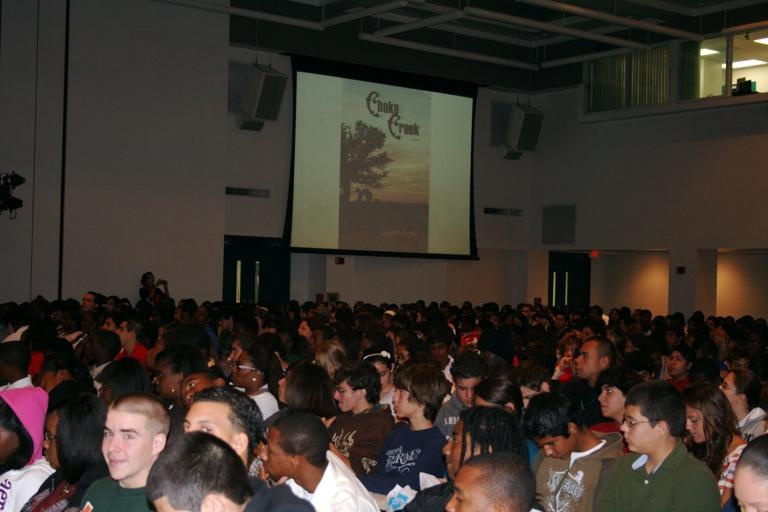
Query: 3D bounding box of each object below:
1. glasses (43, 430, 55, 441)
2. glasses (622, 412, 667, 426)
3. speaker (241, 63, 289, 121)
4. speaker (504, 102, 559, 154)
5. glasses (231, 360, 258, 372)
[{"bbox_3d":[-2.576,1.377,4.842,0.071,0.103,0.046,-1,-35,1],"label":"glasses"},{"bbox_3d":[1.966,1.238,4.736,0.279,0.092,0.060,-1,1,26],"label":"glasses"},{"bbox_3d":[-3.012,-4.175,15.917,0.720,1.416,1.063,-2,1,-38],"label":"speaker"},{"bbox_3d":[4.582,-4.043,19.590,0.945,1.852,0.945,14,9,-19],"label":"speaker"},{"bbox_3d":[-1.406,1.093,6.298,0.272,0.106,0.084,-1,1,23],"label":"glasses"}]
